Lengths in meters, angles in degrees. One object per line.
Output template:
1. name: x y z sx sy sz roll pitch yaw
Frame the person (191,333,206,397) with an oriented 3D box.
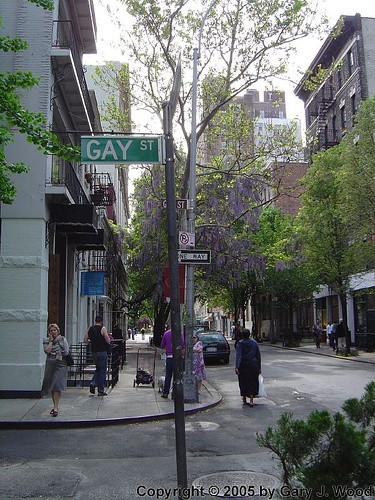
1. person: 0.191 2.831 13.301 0.396 1.403 0.411 -1 -3 -14

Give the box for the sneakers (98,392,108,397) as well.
1. sneakers: -2.033 3.443 12.639 0.213 0.171 0.077 0 -3 -6

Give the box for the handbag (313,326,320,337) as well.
1. handbag: 9.753 6.178 40.134 0.309 0.835 1.537 1 -7 11

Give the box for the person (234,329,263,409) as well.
1. person: 1.303 2.689 11.597 0.513 1.403 0.420 1 -6 8

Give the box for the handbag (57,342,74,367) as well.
1. handbag: -2.243 2.037 9.964 0.349 0.387 0.235 -3 -4 1

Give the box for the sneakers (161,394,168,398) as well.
1. sneakers: -0.546 3.376 12.232 0.060 0.079 0.189 3 -5 -15

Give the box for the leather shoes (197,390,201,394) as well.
1. leather shoes: 0.281 3.665 13.605 0.066 0.130 0.066 -3 -4 32

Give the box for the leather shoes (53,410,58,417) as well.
1. leather shoes: -2.396 2.952 9.575 0.083 0.112 0.236 3 -7 -14

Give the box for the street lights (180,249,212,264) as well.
1. street lights: 0.136 0.140 11.984 0.700 0.405 0.691 2 -7 -3

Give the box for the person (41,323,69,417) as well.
1. person: -2.543 2.264 10.103 0.472 1.670 1.211 3 -6 -15

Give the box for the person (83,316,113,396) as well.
1. person: -2.190 2.553 12.781 0.590 1.876 0.963 3 -6 -9
